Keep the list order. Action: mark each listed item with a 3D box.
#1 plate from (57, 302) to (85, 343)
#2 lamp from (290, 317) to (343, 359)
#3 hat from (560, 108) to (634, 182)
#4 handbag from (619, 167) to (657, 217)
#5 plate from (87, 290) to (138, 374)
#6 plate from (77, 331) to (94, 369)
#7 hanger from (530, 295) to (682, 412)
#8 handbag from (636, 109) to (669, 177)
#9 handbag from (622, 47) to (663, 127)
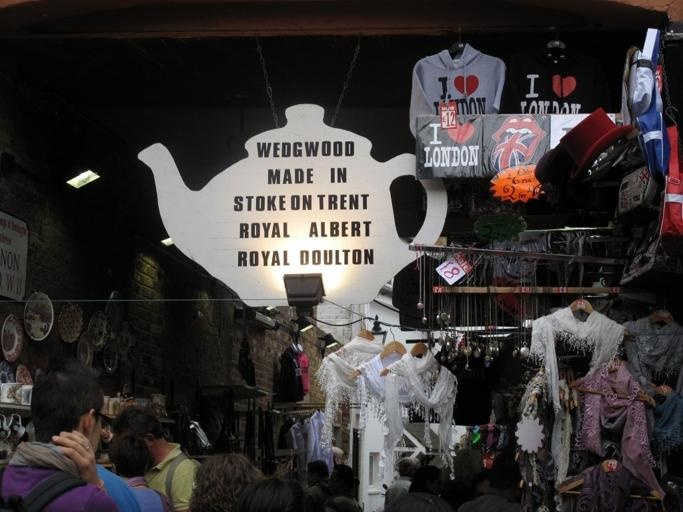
[{"bbox_3d":[-2.283,0.571,7.535,0.214,0.322,0.191,4,-10,-19],"label":"plate"},{"bbox_3d":[-0.196,0.668,7.000,0.231,0.264,0.096,10,-45,-10],"label":"lamp"},{"bbox_3d":[1.894,-0.873,6.703,0.252,0.463,0.626,7,-11,-31],"label":"hat"},{"bbox_3d":[2.235,-0.484,6.695,0.054,0.215,0.295,5,-13,-8],"label":"handbag"},{"bbox_3d":[-1.897,0.615,7.447,0.423,0.693,0.053,21,27,17],"label":"plate"},{"bbox_3d":[-2.084,0.758,7.270,0.057,0.330,0.311,-4,38,-24],"label":"plate"},{"bbox_3d":[2.061,0.785,6.889,0.695,0.908,0.107,0,-12,-1],"label":"hanger"},{"bbox_3d":[2.183,-0.801,6.282,0.195,0.484,0.126,-4,1,-8],"label":"handbag"},{"bbox_3d":[2.158,-1.204,6.409,0.357,0.669,0.203,27,-32,-35],"label":"handbag"}]
